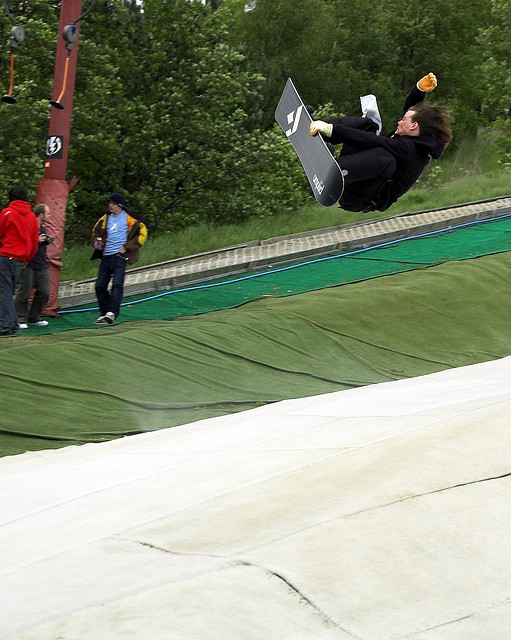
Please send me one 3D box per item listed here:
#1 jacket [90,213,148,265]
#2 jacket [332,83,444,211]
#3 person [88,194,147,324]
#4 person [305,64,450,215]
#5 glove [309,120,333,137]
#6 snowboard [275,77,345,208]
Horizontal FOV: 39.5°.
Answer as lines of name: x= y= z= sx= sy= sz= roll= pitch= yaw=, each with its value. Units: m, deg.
jacket: x=-1.852 y=-1.101 z=9.604 sx=0.857 sy=0.646 sz=0.411 roll=-11 pitch=-2 yaw=3
jacket: x=1.074 y=-1.210 z=5.408 sx=0.740 sy=0.846 sz=0.716 roll=-13 pitch=-2 yaw=15
person: x=-1.853 y=-0.800 z=9.582 sx=1.046 sy=1.586 sz=0.354 roll=-15 pitch=-2 yaw=27
person: x=0.931 y=-1.352 z=5.444 sx=1.129 sy=1.072 sz=0.597 roll=-11 pitch=-3 yaw=-13
glove: x=0.458 y=-1.377 z=5.165 sx=0.162 sy=0.094 sz=0.066 roll=0 pitch=-12 yaw=33
snowboard: x=0.375 y=-1.434 z=5.615 sx=0.253 sy=0.327 sz=1.315 roll=5 pitch=42 yaw=-27
